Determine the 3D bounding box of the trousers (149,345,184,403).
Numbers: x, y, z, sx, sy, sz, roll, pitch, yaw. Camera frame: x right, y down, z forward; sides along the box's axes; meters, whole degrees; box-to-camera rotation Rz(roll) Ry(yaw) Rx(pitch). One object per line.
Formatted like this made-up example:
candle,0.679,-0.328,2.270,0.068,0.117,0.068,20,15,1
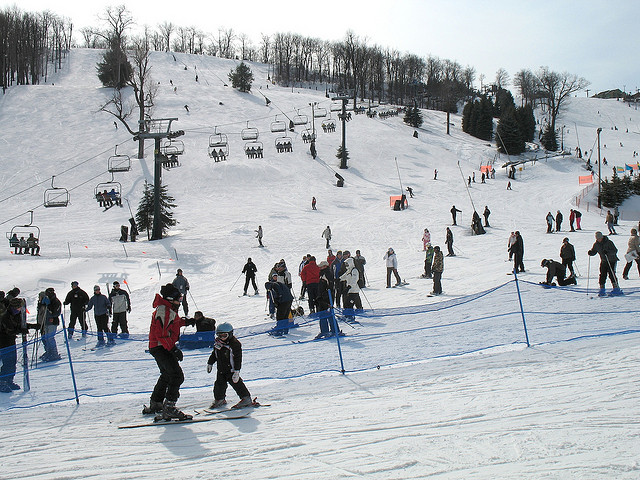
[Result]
trousers,-4.045,3.558,20.856,0.852,1.564,0.437,3,9,20

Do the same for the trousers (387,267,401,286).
trousers,2.947,1.422,31.614,0.474,0.810,0.785,1,9,10

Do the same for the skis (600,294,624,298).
skis,9.816,1.897,26.651,0.767,0.112,0.221,0,9,2

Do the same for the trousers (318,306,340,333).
trousers,0.275,2.591,25.666,0.674,0.960,1.434,0,9,0

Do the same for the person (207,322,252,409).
person,-2.458,3.386,21.226,1.060,2.259,0.620,-2,8,-7

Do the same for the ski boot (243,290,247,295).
ski boot,-3.050,2.156,32.125,0.121,0.236,0.125,-1,-4,9

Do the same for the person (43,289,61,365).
person,-8.539,2.700,25.271,0.513,2.202,1.059,-3,9,-19

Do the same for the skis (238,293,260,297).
skis,-2.874,2.247,32.151,0.651,0.057,0.072,-7,28,-25

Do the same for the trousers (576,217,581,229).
trousers,13.643,-0.904,41.872,0.146,0.584,0.880,2,9,16

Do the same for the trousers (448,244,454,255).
trousers,6.017,0.422,36.600,0.203,0.532,0.414,1,9,10

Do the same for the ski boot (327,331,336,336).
ski boot,0.352,3.033,25.536,0.209,0.056,0.183,-11,22,-34

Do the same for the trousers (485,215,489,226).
trousers,9.234,-1.147,43.899,0.191,0.638,0.853,2,9,14

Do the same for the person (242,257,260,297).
person,-2.837,1.439,32.271,0.671,1.578,1.351,-1,9,-5

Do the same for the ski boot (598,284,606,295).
ski boot,9.571,1.687,26.871,0.291,0.336,0.295,-1,8,3

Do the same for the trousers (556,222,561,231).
trousers,12.530,-0.758,41.728,0.166,0.459,0.622,2,9,14

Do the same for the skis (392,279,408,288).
skis,3.216,1.762,31.855,0.587,0.220,0.194,-20,6,-31

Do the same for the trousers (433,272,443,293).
trousers,4.422,1.595,29.721,0.308,0.805,0.481,1,9,7

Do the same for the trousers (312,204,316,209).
trousers,-0.386,-2.212,51.683,0.203,0.303,0.547,-1,9,-1

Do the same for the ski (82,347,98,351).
ski,-7.616,3.633,26.215,0.461,0.034,0.233,-3,10,-17

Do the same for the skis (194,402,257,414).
skis,-2.471,4.512,21.131,0.868,0.134,0.100,-9,28,-2

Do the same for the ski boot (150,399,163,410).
ski boot,-4.323,4.370,20.921,0.281,0.221,0.284,0,-10,7

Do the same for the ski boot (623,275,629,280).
ski boot,11.020,1.354,28.615,0.200,0.210,0.114,4,18,6

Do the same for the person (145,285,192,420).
person,-4.044,2.960,20.794,0.940,3.445,0.838,-2,9,-10

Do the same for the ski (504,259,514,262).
ski,8.253,0.880,34.603,0.404,0.167,0.124,-12,-6,36

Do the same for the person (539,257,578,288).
person,8.791,1.204,29.127,1.396,0.983,0.565,3,3,11

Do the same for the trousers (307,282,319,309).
trousers,-0.270,1.956,27.486,0.317,1.014,0.365,-4,9,-24

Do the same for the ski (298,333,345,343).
ski,-0.029,3.183,25.416,1.034,0.198,0.141,-2,9,-7

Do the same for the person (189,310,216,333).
person,-3.821,2.518,25.583,0.682,0.377,0.922,-16,27,-25

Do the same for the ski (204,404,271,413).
ski,-2.242,4.511,21.083,1.690,0.153,0.203,-1,9,-1

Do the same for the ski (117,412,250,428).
ski,-3.867,4.771,20.644,2.751,0.157,0.284,-1,9,-3

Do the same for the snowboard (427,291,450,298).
snowboard,4.441,2.062,29.647,0.939,0.088,0.498,-3,10,-17

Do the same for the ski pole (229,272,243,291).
ski pole,-3.654,1.852,34.597,0.050,0.092,1.374,37,50,5

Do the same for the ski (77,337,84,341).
ski,-8.310,3.456,27.498,0.078,0.082,0.344,7,9,34

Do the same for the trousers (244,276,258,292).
trousers,-2.805,1.743,32.010,0.511,0.674,0.537,-2,9,-6

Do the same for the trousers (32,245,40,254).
trousers,-14.255,0.460,39.833,0.420,0.416,0.153,8,9,30

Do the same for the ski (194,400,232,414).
ski,-2.838,4.513,21.210,0.714,0.128,0.097,-19,8,-19
